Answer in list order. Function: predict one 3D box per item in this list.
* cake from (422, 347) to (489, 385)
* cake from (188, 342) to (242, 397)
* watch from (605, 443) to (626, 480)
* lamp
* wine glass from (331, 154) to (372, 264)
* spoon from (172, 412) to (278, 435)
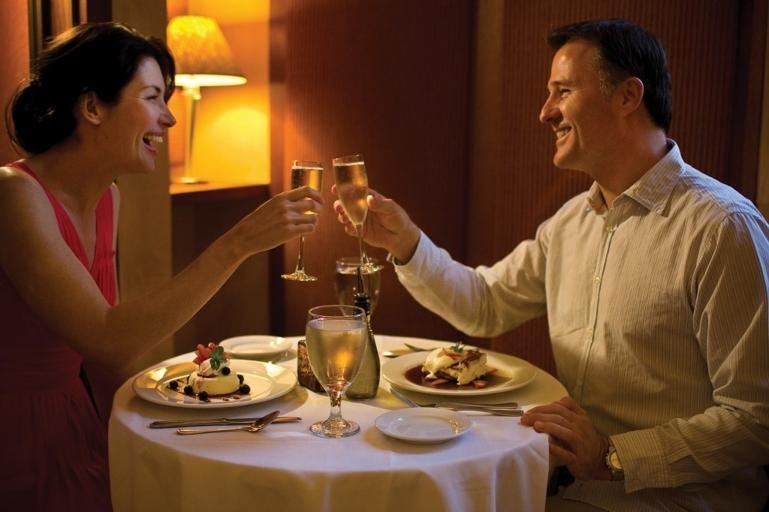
[{"bbox_3d":[0.241,0.345,2.146,0.134,0.070,0.139,8,11,37],"label":"cake"},{"bbox_3d":[-0.524,0.353,2.070,0.137,0.133,0.148,0,-2,-10],"label":"cake"},{"bbox_3d":[0.710,0.636,2.024,0.062,0.088,0.029,5,-12,-10],"label":"watch"},{"bbox_3d":[-1.086,-0.902,3.785,0.529,0.933,0.566,7,7,32],"label":"lamp"},{"bbox_3d":[-0.106,-0.155,2.243,0.111,0.384,0.344,-3,12,-2],"label":"wine glass"},{"bbox_3d":[-0.452,0.472,1.855,0.236,0.044,0.043,0,3,-10],"label":"spoon"}]
